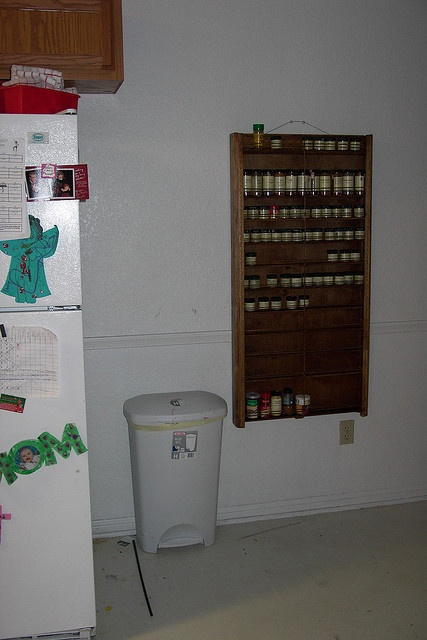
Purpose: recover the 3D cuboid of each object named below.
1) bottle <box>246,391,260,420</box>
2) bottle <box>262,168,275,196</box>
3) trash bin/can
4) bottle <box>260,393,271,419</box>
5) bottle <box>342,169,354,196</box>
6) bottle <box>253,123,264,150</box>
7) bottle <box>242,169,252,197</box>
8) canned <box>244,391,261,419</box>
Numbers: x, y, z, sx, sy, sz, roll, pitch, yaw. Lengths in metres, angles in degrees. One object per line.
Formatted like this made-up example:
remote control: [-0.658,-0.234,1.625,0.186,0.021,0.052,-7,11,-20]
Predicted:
bottle: [0.181,0.404,2.664,0.107,0.110,0.104,0,5,-6]
bottle: [0.248,-0.619,2.575,0.058,0.109,0.018,0,8,-9]
trash bin/can: [-0.154,0.616,2.691,0.624,0.773,0.620,-2,17,-8]
bottle: [0.246,0.404,2.684,0.057,0.118,0.039,1,8,-5]
bottle: [0.633,-0.642,2.660,0.060,0.106,0.021,-2,9,-25]
bottle: [0.197,-0.814,2.514,0.043,0.099,0.030,1,8,-3]
bottle: [0.154,-0.614,2.548,0.042,0.110,0.016,0,8,-11]
canned: [0.181,0.399,2.666,0.106,0.110,0.103,1,8,-2]
